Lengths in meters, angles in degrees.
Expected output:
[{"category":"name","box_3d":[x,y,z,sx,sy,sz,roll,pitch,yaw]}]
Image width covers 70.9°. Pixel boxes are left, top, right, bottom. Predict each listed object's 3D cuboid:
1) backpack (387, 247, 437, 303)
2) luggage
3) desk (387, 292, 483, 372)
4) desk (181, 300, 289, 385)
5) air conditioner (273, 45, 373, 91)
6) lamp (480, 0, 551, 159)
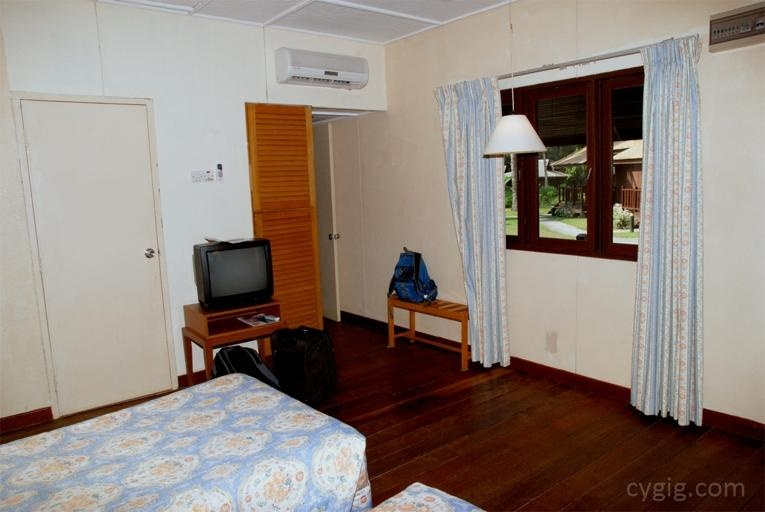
[{"category":"backpack","box_3d":[0.342,0.232,6.135,0.586,0.584,0.450,3,8,19]},{"category":"luggage","box_3d":[-0.730,1.012,4.896,0.506,0.626,0.372,13,24,40]},{"category":"desk","box_3d":[0.577,0.800,5.922,0.412,0.619,1.132,-6,9,-41]},{"category":"desk","box_3d":[-1.498,0.852,5.299,0.536,0.689,0.774,9,10,43]},{"category":"air conditioner","box_3d":[-0.647,-2.019,5.876,0.992,0.355,0.328,-8,22,-36]},{"category":"lamp","box_3d":[1.023,-1.095,4.318,0.589,1.459,0.610,0,18,14]}]
